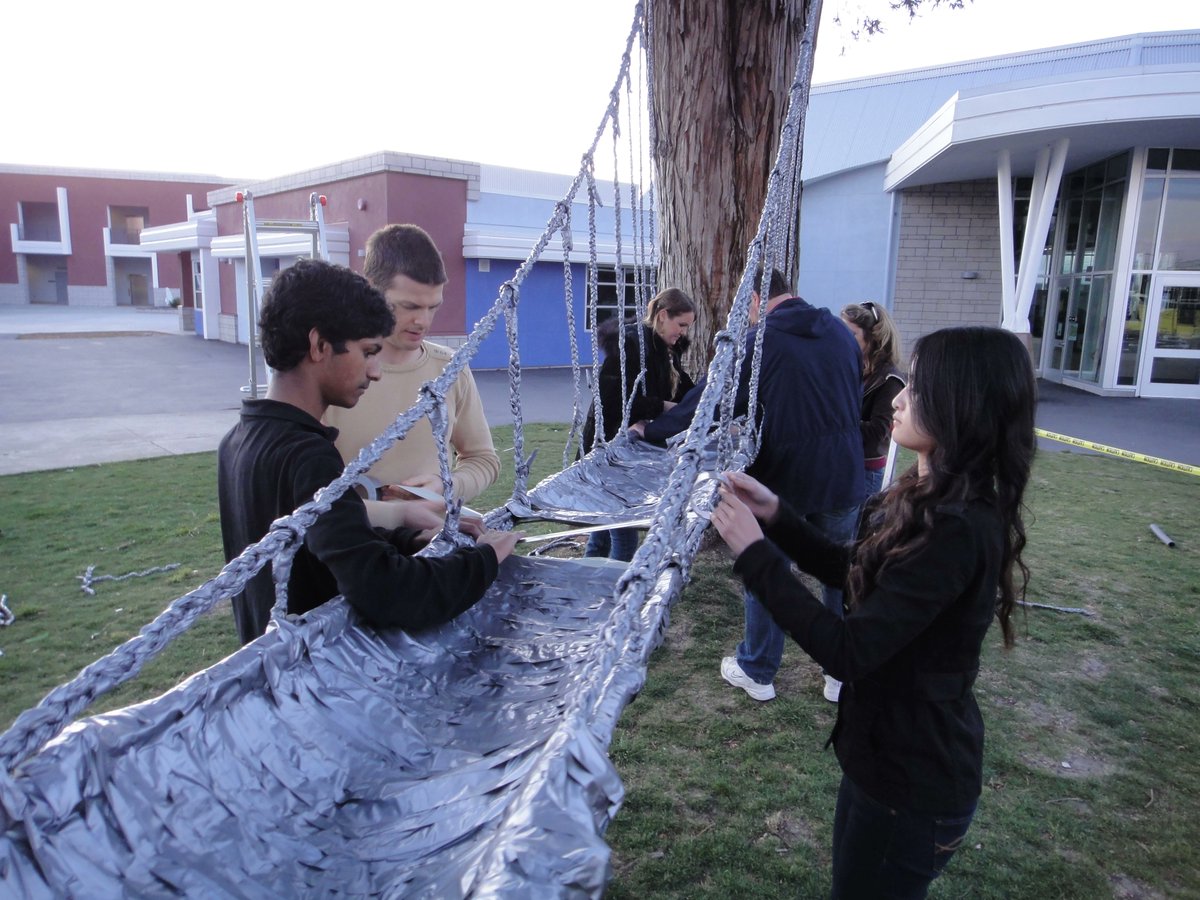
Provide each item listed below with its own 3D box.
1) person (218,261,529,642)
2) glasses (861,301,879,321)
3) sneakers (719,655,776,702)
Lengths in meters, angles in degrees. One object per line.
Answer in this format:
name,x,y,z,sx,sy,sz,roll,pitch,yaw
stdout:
person,-0.528,0.017,1.554,0.647,0.849,0.386,7,11,37
glasses,1.402,-0.720,3.668,0.069,0.102,0.088,-12,22,-7
sneakers,0.616,0.943,3.056,0.104,0.121,0.284,-19,27,-24
